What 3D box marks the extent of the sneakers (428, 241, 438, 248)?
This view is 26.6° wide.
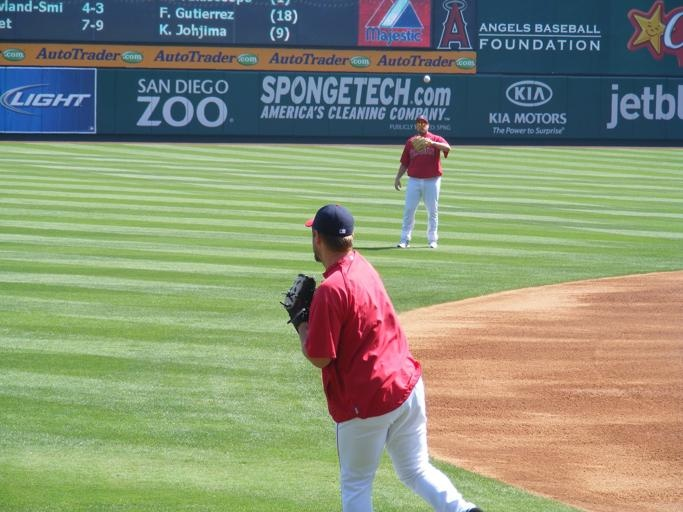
[{"bbox_3d":[1.770,-0.210,28.491,0.145,0.091,0.244,-2,-3,3],"label":"sneakers"}]

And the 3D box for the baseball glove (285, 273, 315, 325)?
[{"bbox_3d":[-0.617,0.642,21.001,0.277,0.660,0.578,20,17,-26],"label":"baseball glove"}]

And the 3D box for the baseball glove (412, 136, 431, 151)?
[{"bbox_3d":[1.519,-2.162,28.019,0.304,0.208,0.210,3,1,4],"label":"baseball glove"}]
